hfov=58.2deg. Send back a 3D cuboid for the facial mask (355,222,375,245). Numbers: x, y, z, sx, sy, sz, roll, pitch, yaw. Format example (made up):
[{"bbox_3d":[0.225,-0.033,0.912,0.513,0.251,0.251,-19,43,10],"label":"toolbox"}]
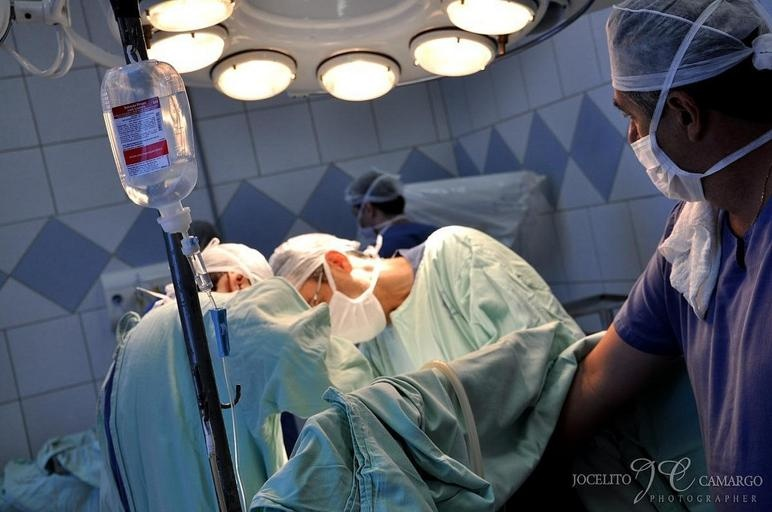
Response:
[{"bbox_3d":[-0.112,-0.118,3.561,0.099,0.074,0.137,-23,-16,-1],"label":"facial mask"}]

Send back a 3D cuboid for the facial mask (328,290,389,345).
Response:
[{"bbox_3d":[-0.115,0.202,2.436,0.179,0.177,0.191,-22,-43,-36],"label":"facial mask"}]
